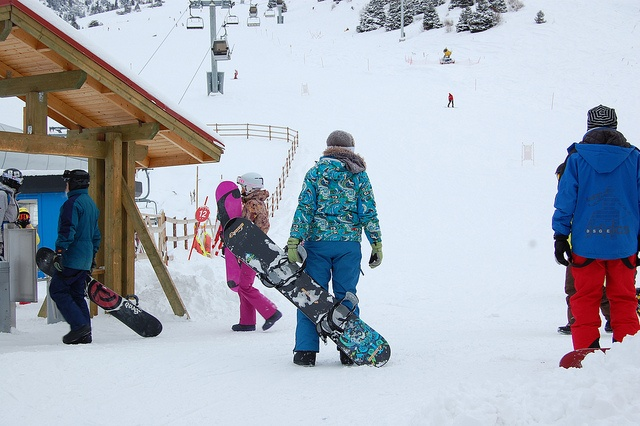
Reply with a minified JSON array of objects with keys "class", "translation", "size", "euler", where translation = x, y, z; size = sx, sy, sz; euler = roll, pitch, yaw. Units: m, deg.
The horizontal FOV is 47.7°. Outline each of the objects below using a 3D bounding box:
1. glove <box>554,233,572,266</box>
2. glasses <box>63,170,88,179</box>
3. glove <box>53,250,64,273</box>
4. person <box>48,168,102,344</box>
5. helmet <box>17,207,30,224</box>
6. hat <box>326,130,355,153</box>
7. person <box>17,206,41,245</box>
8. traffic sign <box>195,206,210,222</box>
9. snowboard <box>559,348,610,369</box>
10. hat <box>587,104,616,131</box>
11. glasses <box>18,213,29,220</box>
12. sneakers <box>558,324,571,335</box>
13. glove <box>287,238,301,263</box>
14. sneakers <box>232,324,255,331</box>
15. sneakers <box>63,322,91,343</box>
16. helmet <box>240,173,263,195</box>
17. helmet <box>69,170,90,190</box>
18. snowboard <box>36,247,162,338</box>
[{"class":"glove","translation":[3.798,0.579,11.499],"size":[0.321,0.444,0.171],"euler":[1,-6,-9]},{"class":"glasses","translation":[-4.291,-0.681,12.769],"size":[0.267,0.124,0.197],"euler":[3,3,15]},{"class":"glove","translation":[-4.511,0.817,12.552],"size":[0.161,0.394,0.237],"euler":[0,11,-17]},{"class":"person","translation":[-4.303,0.741,12.664],"size":[0.758,2.901,0.882],"euler":[0,11,-16]},{"class":"helmet","translation":[-6.488,0.046,15.903],"size":[0.259,0.334,0.320],"euler":[5,14,-23]},{"class":"hat","translation":[0.317,-1.202,12.061],"size":[0.362,0.358,0.366],"euler":[-4,10,-28]},{"class":"person","translation":[-6.210,0.255,15.487],"size":[0.308,0.889,0.653],"euler":[-6,-12,14]},{"class":"traffic sign","translation":[-3.170,0.015,19.626],"size":[0.450,0.457,0.061],"euler":[-12,-25,-22]},{"class":"snowboard","translation":[3.866,2.086,10.665],"size":[0.670,0.367,0.383],"euler":[2,11,-11]},{"class":"hat","translation":[4.517,-1.534,11.672],"size":[0.355,0.440,0.466],"euler":[2,16,6]},{"class":"glasses","translation":[-6.454,0.064,15.835],"size":[0.157,0.150,0.126],"euler":[-6,24,-10]},{"class":"sneakers","translation":[4.411,2.059,12.927],"size":[0.320,0.148,0.108],"euler":[3,-4,3]},{"class":"glove","translation":[-0.430,0.584,11.611],"size":[0.121,0.362,0.258],"euler":[6,49,-7]},{"class":"sneakers","translation":[-1.435,2.148,13.711],"size":[0.414,0.178,0.153],"euler":[3,1,-4]},{"class":"sneakers","translation":[-4.180,2.089,12.591],"size":[0.499,0.218,0.220],"euler":[-15,28,-4]},{"class":"helmet","translation":[-1.301,-0.597,14.078],"size":[0.454,0.388,0.334],"euler":[8,10,29]},{"class":"helmet","translation":[-4.226,-0.591,12.766],"size":[0.353,0.330,0.282],"euler":[15,13,35]},{"class":"snowboard","translation":[-4.086,1.474,13.392],"size":[2.154,0.561,0.320],"euler":[33,30,-1]}]
